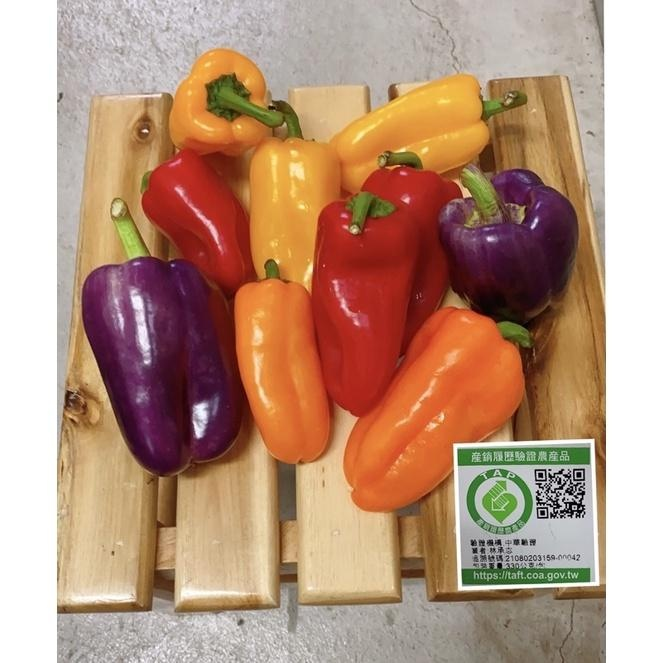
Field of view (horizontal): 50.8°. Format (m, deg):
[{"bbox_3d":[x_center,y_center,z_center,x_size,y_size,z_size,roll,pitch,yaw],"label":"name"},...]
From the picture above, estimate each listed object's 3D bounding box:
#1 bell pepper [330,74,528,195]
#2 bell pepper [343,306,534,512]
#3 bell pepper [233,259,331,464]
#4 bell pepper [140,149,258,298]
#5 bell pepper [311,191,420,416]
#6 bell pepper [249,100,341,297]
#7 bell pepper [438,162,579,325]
[{"bbox_3d":[0.180,-0.363,1.328,0.340,0.144,0.190,-25,74,0],"label":"bell pepper"},{"bbox_3d":[0.173,0.129,1.169,0.207,0.154,0.365,40,91,16],"label":"bell pepper"},{"bbox_3d":[-0.074,0.063,1.096,0.121,0.111,0.333,-1,81,-9],"label":"bell pepper"},{"bbox_3d":[-0.220,-0.196,1.257,0.148,0.121,0.291,-34,87,16],"label":"bell pepper"},{"bbox_3d":[0.045,-0.058,1.152,0.148,0.140,0.369,2,90,6],"label":"bell pepper"},{"bbox_3d":[-0.064,-0.233,1.259,0.152,0.154,0.373,10,104,44],"label":"bell pepper"},{"bbox_3d":[0.279,-0.148,1.163,0.199,0.269,0.213,-9,36,18],"label":"bell pepper"}]
